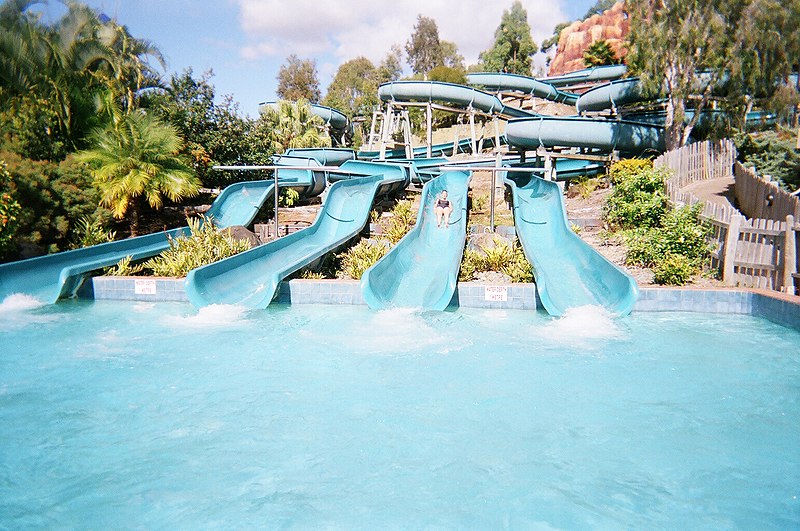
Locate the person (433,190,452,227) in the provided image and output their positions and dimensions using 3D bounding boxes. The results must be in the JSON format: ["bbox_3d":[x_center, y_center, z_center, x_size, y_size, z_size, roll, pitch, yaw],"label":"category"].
[{"bbox_3d":[1.048,-1.345,13.360,0.369,0.452,1.054,-2,32,8],"label":"person"}]
